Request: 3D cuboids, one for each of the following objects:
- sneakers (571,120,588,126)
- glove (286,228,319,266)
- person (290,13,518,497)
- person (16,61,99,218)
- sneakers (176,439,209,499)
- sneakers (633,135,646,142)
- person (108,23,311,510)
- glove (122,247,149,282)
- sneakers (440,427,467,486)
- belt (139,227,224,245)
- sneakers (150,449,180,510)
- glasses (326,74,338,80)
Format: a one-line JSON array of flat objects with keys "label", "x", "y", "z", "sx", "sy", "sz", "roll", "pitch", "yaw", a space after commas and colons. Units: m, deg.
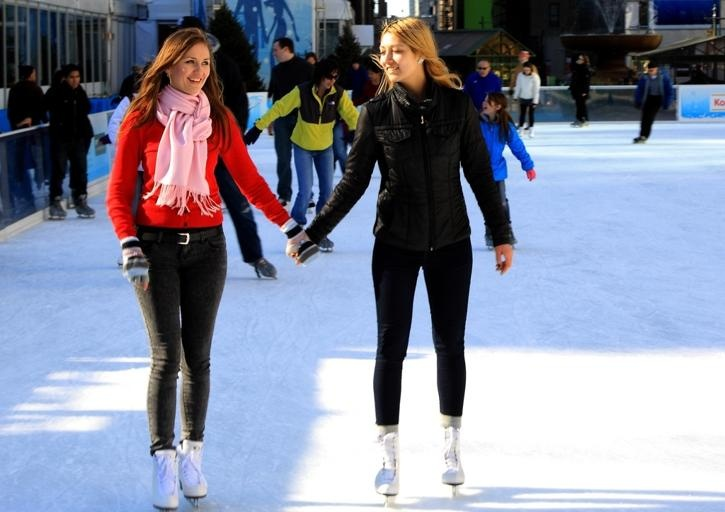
[{"label": "sneakers", "x": 7.142, "y": -4.389, "z": 25.094, "sx": 0.558, "sy": 0.244, "sz": 0.203, "roll": 2, "pitch": 18, "yaw": -3}, {"label": "glove", "x": -0.270, "y": -0.043, "z": 3.347, "sx": 0.079, "sy": 0.089, "sz": 0.210, "roll": -49, "pitch": 12, "yaw": -9}, {"label": "person", "x": 0.234, "y": -0.011, "z": 3.144, "sx": 0.818, "sy": 1.896, "sz": 0.466, "roll": -4, "pitch": 13, "yaw": -16}, {"label": "person", "x": -3.945, "y": -1.535, "z": 10.161, "sx": 0.650, "sy": 2.024, "sz": 0.463, "roll": -5, "pitch": 13, "yaw": -21}, {"label": "sneakers", "x": -0.709, "y": 0.830, "z": 3.101, "sx": 0.094, "sy": 0.152, "sz": 0.298, "roll": -5, "pitch": 30, "yaw": -15}, {"label": "sneakers", "x": 7.267, "y": -3.086, "z": 19.908, "sx": 0.208, "sy": 0.128, "sz": 0.276, "roll": 3, "pitch": 20, "yaw": 15}, {"label": "person", "x": -0.652, "y": 0.050, "z": 3.048, "sx": 0.645, "sy": 1.880, "sz": 0.397, "roll": -7, "pitch": 14, "yaw": -26}, {"label": "glove", "x": -0.853, "y": 0.028, "z": 2.862, "sx": 0.095, "sy": 0.124, "sz": 0.050, "roll": -4, "pitch": -4, "yaw": -26}, {"label": "sneakers", "x": 0.374, "y": 0.848, "z": 3.204, "sx": 0.089, "sy": 0.221, "sz": 0.243, "roll": -5, "pitch": -7, "yaw": 14}, {"label": "belt", "x": -0.718, "y": -0.086, "z": 2.978, "sx": 0.308, "sy": 0.071, "sz": 0.082, "roll": -4, "pitch": 13, "yaw": -16}, {"label": "sneakers", "x": -0.767, "y": 0.866, "z": 3.020, "sx": 0.087, "sy": 0.274, "sz": 0.134, "roll": -3, "pitch": -22, "yaw": -11}, {"label": "glasses", "x": -0.337, "y": -1.929, "z": 8.149, "sx": 0.091, "sy": 0.028, "sz": 0.089, "roll": -4, "pitch": 7, "yaw": -33}]
